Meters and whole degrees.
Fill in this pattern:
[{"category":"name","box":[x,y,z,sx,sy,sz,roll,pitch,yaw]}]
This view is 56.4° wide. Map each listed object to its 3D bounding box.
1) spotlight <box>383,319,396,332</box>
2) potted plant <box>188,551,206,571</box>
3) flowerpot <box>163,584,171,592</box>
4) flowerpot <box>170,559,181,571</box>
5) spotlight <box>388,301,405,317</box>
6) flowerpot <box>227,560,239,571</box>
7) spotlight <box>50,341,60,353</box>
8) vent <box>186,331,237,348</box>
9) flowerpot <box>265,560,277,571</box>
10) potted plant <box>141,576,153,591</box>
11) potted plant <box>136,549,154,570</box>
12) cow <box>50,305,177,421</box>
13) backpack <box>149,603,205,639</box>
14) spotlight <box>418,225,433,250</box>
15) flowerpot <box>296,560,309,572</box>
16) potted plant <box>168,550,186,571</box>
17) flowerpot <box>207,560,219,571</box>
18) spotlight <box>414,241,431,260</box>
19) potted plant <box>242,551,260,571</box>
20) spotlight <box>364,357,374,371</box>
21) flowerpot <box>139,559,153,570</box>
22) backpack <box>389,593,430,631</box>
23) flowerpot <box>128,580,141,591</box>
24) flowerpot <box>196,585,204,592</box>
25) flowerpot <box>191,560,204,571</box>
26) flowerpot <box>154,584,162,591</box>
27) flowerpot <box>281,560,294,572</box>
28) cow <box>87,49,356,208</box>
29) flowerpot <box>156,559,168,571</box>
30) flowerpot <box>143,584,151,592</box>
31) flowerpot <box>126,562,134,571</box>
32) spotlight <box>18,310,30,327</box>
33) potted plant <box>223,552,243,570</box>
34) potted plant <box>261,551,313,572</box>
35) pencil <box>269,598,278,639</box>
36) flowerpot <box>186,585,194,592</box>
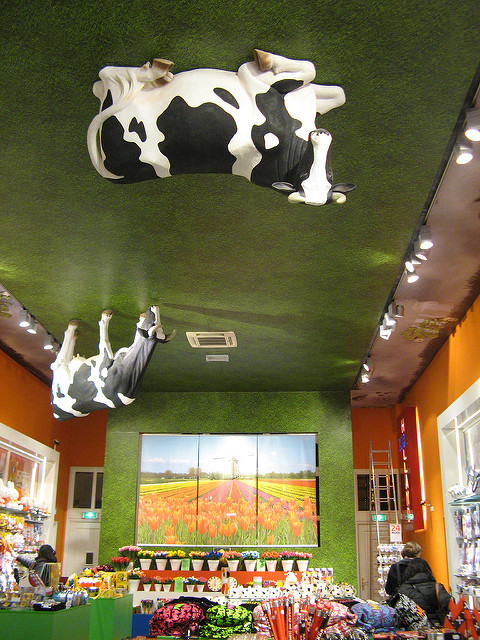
[{"category":"spotlight","box":[1.739,0.066,5.196,0.130,0.160,0.165,5,7,7]},{"category":"potted plant","box":[-0.689,3.977,7.379,0.245,0.283,0.290,0,-21,-4]},{"category":"flowerpot","box":[-1.143,4.192,7.000,0.095,0.095,0.092,-9,-24,24]},{"category":"flowerpot","box":[-1.064,4.044,7.375,0.157,0.131,0.151,13,-28,-27]},{"category":"spotlight","box":[1.725,-0.110,5.015,0.160,0.215,0.226,-2,1,-33]},{"category":"flowerpot","box":[-0.115,3.946,7.200,0.178,0.147,0.166,3,-35,-3]},{"category":"spotlight","box":[-2.597,0.384,6.277,0.137,0.164,0.063,6,-4,-8]},{"category":"vent","box":[-0.372,0.268,6.056,0.652,0.090,0.522,-3,-20,4]},{"category":"flowerpot","box":[0.502,3.938,7.178,0.143,0.102,0.134,1,-27,0]},{"category":"potted plant","box":[-1.456,4.123,6.971,0.164,0.115,0.159,2,-22,-2]},{"category":"potted plant","box":[-1.572,4.029,7.599,0.395,0.361,0.330,1,-38,-6]},{"category":"cow","box":[-1.404,0.360,4.573,1.533,1.127,0.444,-16,-26,34]},{"category":"backpack","box":[-0.524,2.564,3.788,0.506,0.226,0.301,-16,-24,33]},{"category":"spotlight","box":[1.481,-0.671,3.578,0.103,0.162,0.157,-1,18,1]},{"category":"flowerpot","box":[1.006,3.945,7.167,0.149,0.104,0.139,2,-25,0]},{"category":"potted plant","box":[-1.054,4.007,7.454,0.277,0.279,0.202,-2,-21,-1]},{"category":"flowerpot","box":[-0.449,3.995,7.273,0.177,0.126,0.166,1,-30,0]},{"category":"spotlight","box":[1.540,-0.582,3.766,0.135,0.137,0.151,0,-48,6]},{"category":"potted plant","box":[0.178,3.911,7.251,0.228,0.288,0.310,-5,-21,8]},{"category":"spotlight","box":[1.949,0.664,6.690,0.196,0.184,0.115,9,-24,-28]},{"category":"flowerpot","box":[-1.579,4.066,7.430,0.175,0.125,0.163,0,-36,0]},{"category":"backpack","box":[1.296,2.257,3.432,0.291,0.151,0.203,20,-13,11]},{"category":"flowerpot","box":[-1.651,4.129,6.965,0.242,0.167,0.212,6,-31,-12]},{"category":"flowerpot","box":[-0.615,4.162,6.939,0.100,0.086,0.094,-2,-23,8]},{"category":"flowerpot","box":[-0.693,4.019,7.306,0.162,0.114,0.152,6,-31,-6]},{"category":"flowerpot","box":[-1.285,4.184,6.991,0.098,0.076,0.093,7,-19,-16]},{"category":"flowerpot","box":[0.773,3.930,7.158,0.178,0.126,0.168,4,-25,-6]},{"category":"cow","box":[-0.129,-0.853,1.992,1.081,0.661,0.334,0,14,9]},{"category":"flowerpot","box":[-1.314,4.080,7.435,0.169,0.133,0.161,-8,-28,15]},{"category":"flowerpot","box":[-1.444,4.159,6.936,0.102,0.100,0.095,-1,-29,2]},{"category":"flowerpot","box":[-1.802,4.044,7.343,0.090,0.155,0.079,-2,-44,8]},{"category":"spotlight","box":[-2.540,-0.023,5.274,0.126,0.196,0.178,9,-23,-26]},{"category":"potted plant","box":[-0.100,3.925,7.355,0.420,0.360,0.355,1,-24,-2]},{"category":"potted plant","box":[0.777,3.923,7.272,0.840,0.291,0.316,-3,-21,3]},{"category":"pencil","box":[0.148,1.339,2.025,0.017,0.136,0.016,-12,-3,1]},{"category":"flowerpot","box":[-0.786,4.174,6.971,0.120,0.084,0.105,3,-17,-4]}]
